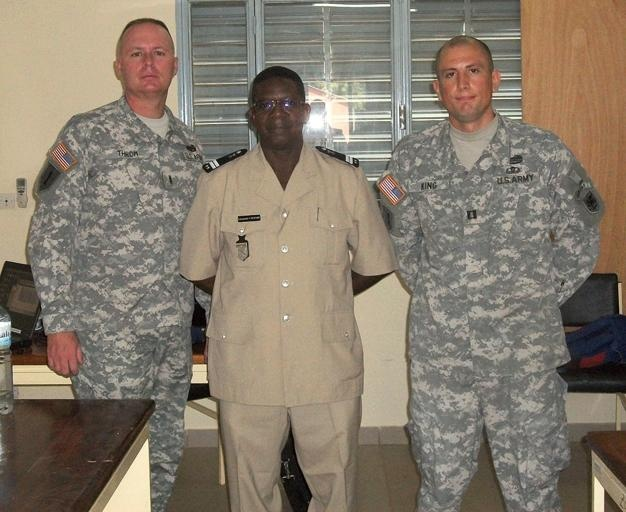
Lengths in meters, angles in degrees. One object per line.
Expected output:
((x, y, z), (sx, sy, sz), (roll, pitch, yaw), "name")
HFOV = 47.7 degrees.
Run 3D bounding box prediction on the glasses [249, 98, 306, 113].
((-0.123, -0.531, 2.514), (0.186, 0.047, 0.057), (-1, 2, -5), "glasses")
